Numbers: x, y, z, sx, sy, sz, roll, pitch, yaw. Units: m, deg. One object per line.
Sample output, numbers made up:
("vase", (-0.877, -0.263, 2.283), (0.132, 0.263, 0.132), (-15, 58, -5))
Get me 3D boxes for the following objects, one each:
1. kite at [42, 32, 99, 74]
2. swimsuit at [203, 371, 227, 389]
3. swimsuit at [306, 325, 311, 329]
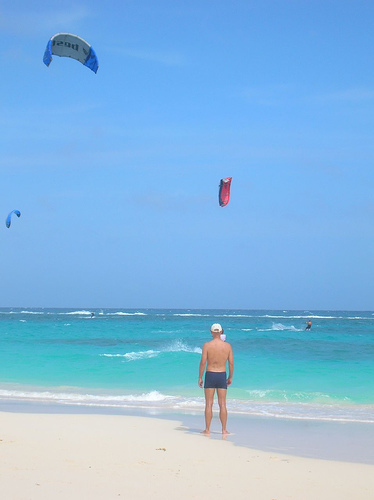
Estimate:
("kite", (-2.286, -3.803, 15.358), (0.997, 0.486, 0.871), (6, -9, -25))
("swimsuit", (0.394, 1.782, 10.602), (0.270, 0.250, 0.204), (3, -8, -2))
("swimsuit", (7.033, 4.519, 45.183), (0.168, 0.262, 0.447), (5, 0, 17))
